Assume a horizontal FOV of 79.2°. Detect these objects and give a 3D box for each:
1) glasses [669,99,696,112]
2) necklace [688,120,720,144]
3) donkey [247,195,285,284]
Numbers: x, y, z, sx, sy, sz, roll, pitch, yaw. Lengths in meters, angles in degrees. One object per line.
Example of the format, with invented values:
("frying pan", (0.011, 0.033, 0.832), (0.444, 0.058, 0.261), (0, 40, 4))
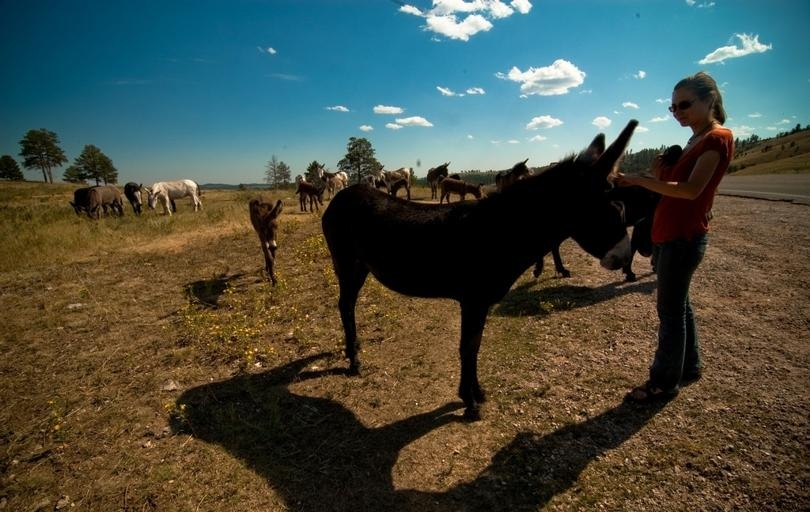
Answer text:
("glasses", (4.916, -2.627, 8.622), (0.371, 0.233, 0.193), (6, 16, 34))
("necklace", (5.322, -2.165, 8.588), (0.479, 0.402, 0.401), (3, 14, 24))
("donkey", (-4.045, -0.616, 14.605), (0.933, 2.275, 3.230), (-7, 14, -16))
